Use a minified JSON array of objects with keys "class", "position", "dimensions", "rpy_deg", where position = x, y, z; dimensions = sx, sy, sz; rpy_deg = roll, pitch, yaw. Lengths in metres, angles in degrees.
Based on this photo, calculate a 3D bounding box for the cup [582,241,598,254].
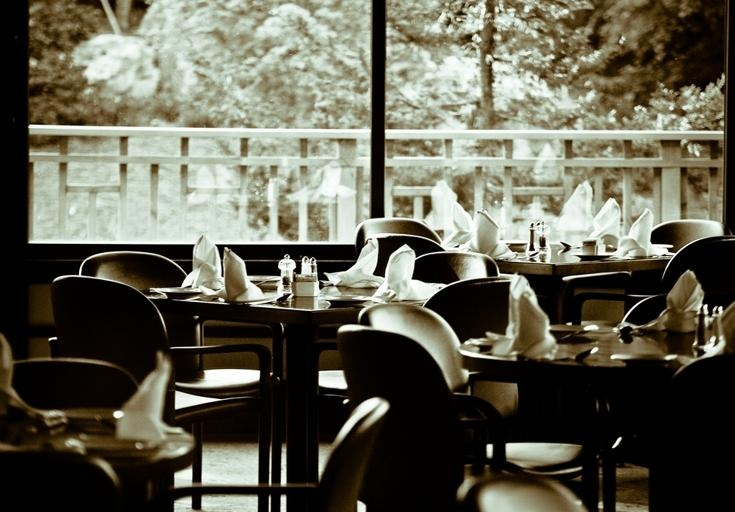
[{"class":"cup","position":[1.236,-0.044,5.446],"dimensions":[0.093,0.094,0.067],"rpy_deg":[-1,-2,14]}]

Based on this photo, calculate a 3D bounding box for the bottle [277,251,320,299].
[{"class":"bottle","position":[-0.325,0.099,4.586],"dimensions":[0.179,0.227,0.206],"rpy_deg":[1,3,4]}]

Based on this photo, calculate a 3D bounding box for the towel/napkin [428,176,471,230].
[{"class":"towel/napkin","position":[0.532,-0.346,6.414],"dimensions":[0.298,0.561,0.303],"rpy_deg":[0,2,4]}]

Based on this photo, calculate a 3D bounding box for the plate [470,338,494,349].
[{"class":"plate","position":[0.445,0.344,3.836],"dimensions":[0.086,0.027,0.122],"rpy_deg":[0,2,5]}]

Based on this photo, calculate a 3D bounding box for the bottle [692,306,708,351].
[{"class":"bottle","position":[1.299,0.282,3.832],"dimensions":[0.049,0.168,0.167],"rpy_deg":[1,3,19]}]

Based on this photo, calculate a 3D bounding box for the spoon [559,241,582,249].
[{"class":"spoon","position":[1.274,-0.063,6.096],"dimensions":[0.104,0.045,0.089],"rpy_deg":[1,3,-5]}]
